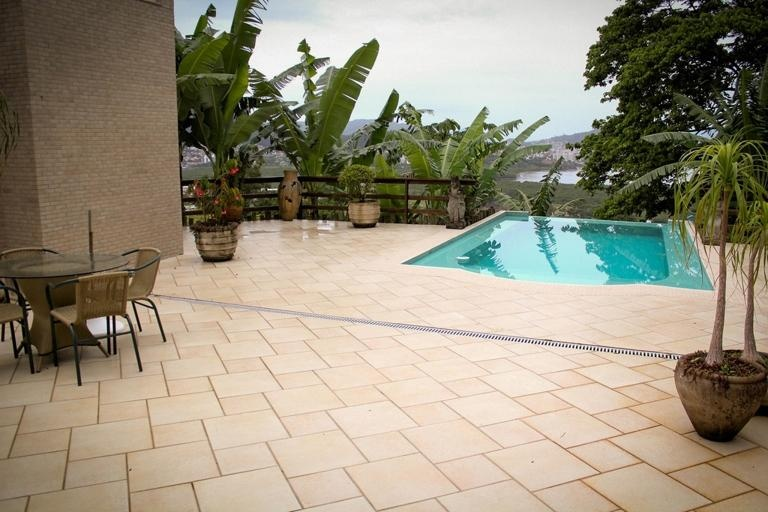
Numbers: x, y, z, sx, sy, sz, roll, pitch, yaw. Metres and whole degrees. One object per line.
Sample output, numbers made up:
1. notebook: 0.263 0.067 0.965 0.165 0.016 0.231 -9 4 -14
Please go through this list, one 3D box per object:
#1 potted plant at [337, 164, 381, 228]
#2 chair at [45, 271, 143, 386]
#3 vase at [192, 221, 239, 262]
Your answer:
1. potted plant: -0.697 -1.678 12.275 1.065 1.717 1.498 -1 12 -2
2. chair: -3.121 0.776 4.652 0.905 1.153 0.921 22 22 40
3. vase: -3.355 -0.305 9.009 0.933 0.587 0.848 0 5 9
